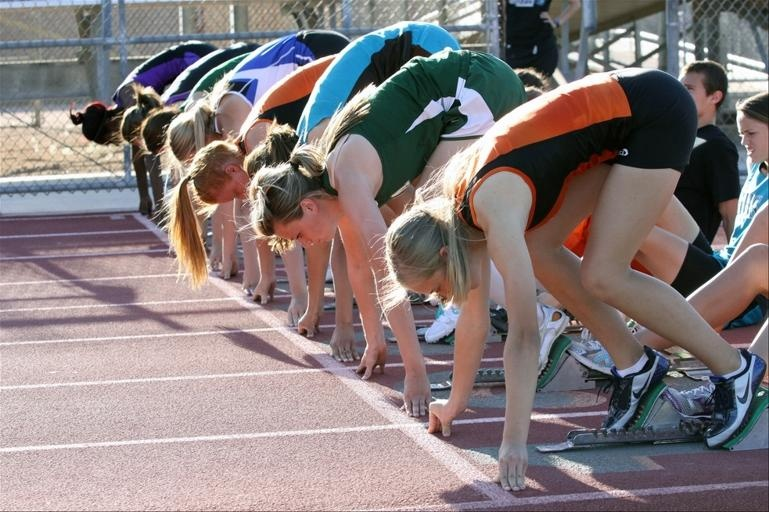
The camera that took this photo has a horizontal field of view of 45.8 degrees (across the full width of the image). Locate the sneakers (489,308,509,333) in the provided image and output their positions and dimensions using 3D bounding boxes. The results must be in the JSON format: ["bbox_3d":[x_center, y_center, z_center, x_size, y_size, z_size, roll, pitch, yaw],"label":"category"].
[{"bbox_3d":[0.715,0.398,5.711,0.133,0.137,0.056,2,13,21],"label":"sneakers"}]
